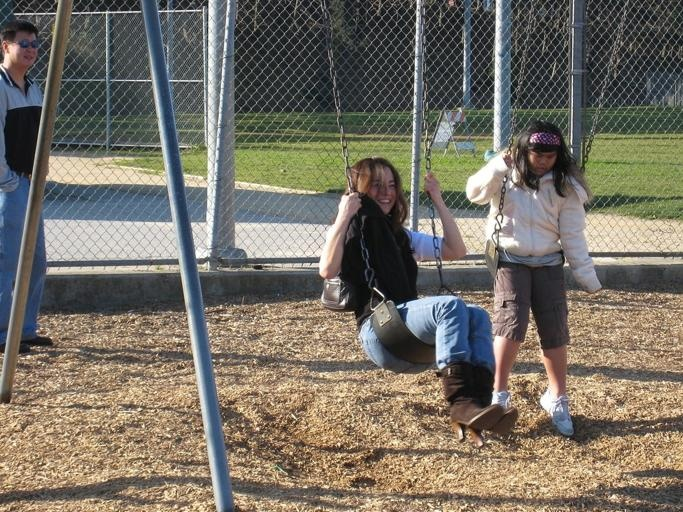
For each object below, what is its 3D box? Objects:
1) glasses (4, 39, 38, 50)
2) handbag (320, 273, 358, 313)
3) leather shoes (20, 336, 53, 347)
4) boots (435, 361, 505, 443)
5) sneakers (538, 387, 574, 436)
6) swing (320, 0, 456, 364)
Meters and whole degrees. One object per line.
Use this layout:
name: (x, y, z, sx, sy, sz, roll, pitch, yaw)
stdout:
glasses: (-2.390, -1.612, 7.687, 0.151, 0.071, 0.051, -12, 17, -42)
handbag: (-0.044, 0.245, 6.854, 0.211, 0.236, 0.113, 9, 12, 22)
leather shoes: (-2.397, 0.653, 7.976, 0.224, 0.107, 0.086, 7, -3, -23)
boots: (0.835, 0.892, 6.357, 0.211, 0.413, 0.499, 33, 37, -27)
sneakers: (1.533, 1.108, 7.198, 0.127, 0.165, 0.391, -3, 43, -26)
swing: (0.300, -0.655, 7.335, 0.899, 2.344, 2.085, 0, 12, -1)
